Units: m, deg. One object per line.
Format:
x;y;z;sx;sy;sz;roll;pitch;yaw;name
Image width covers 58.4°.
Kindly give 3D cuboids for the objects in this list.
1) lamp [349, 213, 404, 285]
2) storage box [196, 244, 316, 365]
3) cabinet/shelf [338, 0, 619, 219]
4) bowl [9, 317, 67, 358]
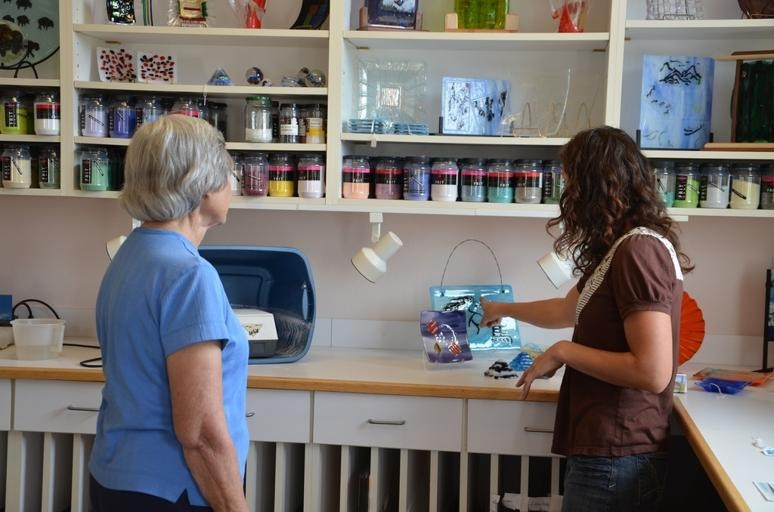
-0.050;-0.026;3.133;0.206;0.349;0.332;-2;8;-2;lamp
-0.577;0.170;3.207;0.692;0.489;0.458;0;1;-5;storage box
0.407;-0.637;2.981;1.054;0.588;0.315;1;9;1;cabinet/shelf
-1.504;0.376;3.002;0.230;0.145;0.195;-1;-9;-2;bowl
